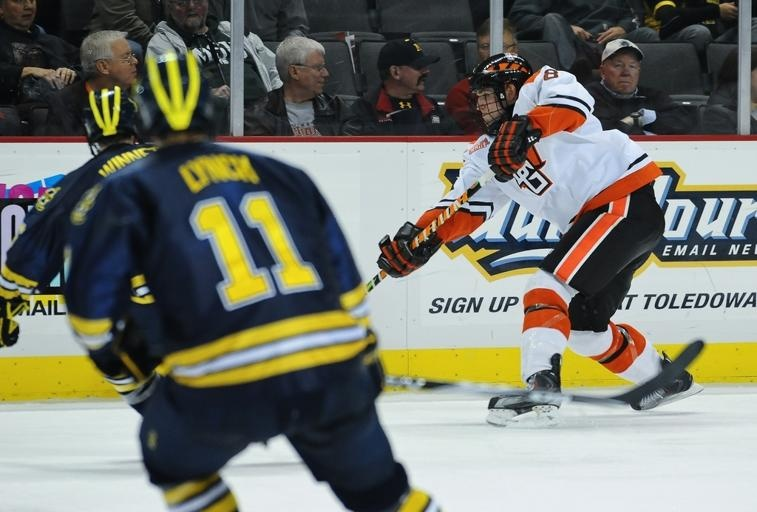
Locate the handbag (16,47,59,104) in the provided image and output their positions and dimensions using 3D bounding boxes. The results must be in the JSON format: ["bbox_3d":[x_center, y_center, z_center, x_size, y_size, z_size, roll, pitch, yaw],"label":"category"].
[{"bbox_3d":[-2.013,-1.068,6.661,0.323,0.284,0.118,3,10,-13],"label":"handbag"}]

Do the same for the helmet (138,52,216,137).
[{"bbox_3d":[-0.715,-0.621,4.295,0.268,0.303,0.342,-5,3,-9],"label":"helmet"}]

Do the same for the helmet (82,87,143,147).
[{"bbox_3d":[-1.346,-0.737,5.726,0.326,0.379,0.366,-3,29,-16],"label":"helmet"}]

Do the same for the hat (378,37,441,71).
[{"bbox_3d":[0.163,-1.200,6.771,0.289,0.133,0.172,1,16,2],"label":"hat"}]

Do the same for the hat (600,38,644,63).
[{"bbox_3d":[1.475,-1.253,6.969,0.151,0.185,0.193,16,-5,-4],"label":"hat"}]

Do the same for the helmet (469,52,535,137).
[{"bbox_3d":[0.637,-0.881,6.208,0.424,0.434,0.379,-6,0,4],"label":"helmet"}]

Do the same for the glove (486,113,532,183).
[{"bbox_3d":[0.659,-0.566,5.833,0.116,0.291,0.217,15,10,-34],"label":"glove"}]
